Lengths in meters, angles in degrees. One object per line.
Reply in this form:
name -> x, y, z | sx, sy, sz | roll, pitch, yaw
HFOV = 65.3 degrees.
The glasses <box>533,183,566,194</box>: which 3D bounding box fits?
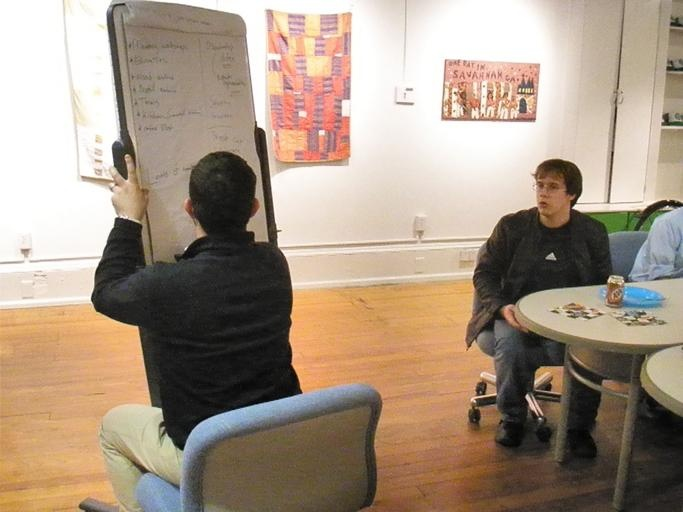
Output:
glasses -> 1.110, -0.371, 2.902 | 0.169, 0.048, 0.086 | 10, 19, 43
